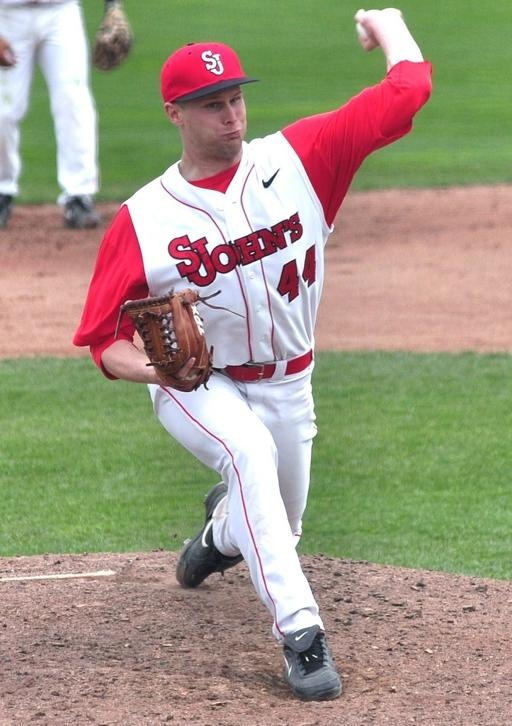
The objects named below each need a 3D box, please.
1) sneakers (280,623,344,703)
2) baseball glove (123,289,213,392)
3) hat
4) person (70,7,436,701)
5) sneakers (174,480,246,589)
[{"bbox_3d":[0.140,0.784,3.028,0.099,0.101,0.244,-10,18,-9],"label":"sneakers"},{"bbox_3d":[-0.229,-0.069,3.026,0.234,0.251,0.133,-17,-2,-9],"label":"baseball glove"},{"bbox_3d":[-0.137,-0.822,3.292,0.186,0.125,0.240,-22,12,-40],"label":"hat"},{"bbox_3d":[0.093,-0.131,3.332,0.985,1.849,0.783,-7,13,-36],"label":"person"},{"bbox_3d":[-0.161,0.583,3.929,0.147,0.182,0.428,-35,6,15],"label":"sneakers"}]
